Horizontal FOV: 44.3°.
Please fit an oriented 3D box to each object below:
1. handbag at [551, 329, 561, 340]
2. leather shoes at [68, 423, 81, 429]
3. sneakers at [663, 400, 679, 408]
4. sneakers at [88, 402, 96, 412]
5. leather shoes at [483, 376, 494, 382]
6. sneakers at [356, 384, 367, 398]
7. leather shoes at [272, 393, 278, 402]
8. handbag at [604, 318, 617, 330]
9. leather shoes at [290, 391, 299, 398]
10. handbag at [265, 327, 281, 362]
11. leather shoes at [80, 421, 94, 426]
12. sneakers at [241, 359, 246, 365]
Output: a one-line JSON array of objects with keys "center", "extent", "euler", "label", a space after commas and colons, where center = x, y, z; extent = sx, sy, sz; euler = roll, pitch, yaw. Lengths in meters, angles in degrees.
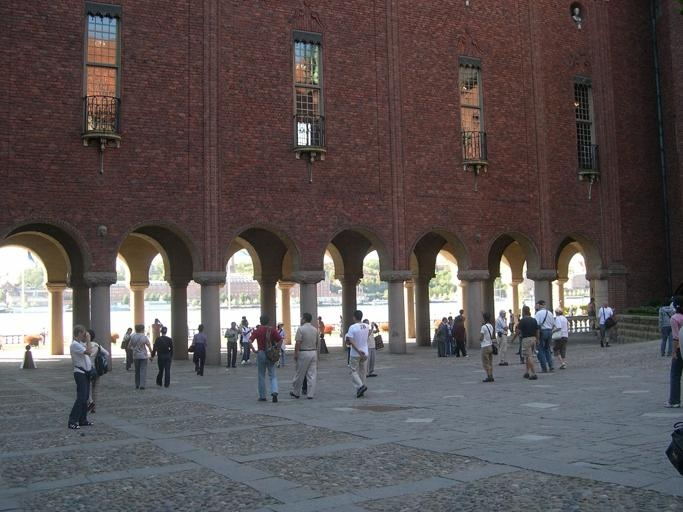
[{"center": [6.326, 2.309, 24.648], "extent": [0.283, 0.494, 0.300], "euler": [-4, -2, 24], "label": "handbag"}, {"center": [-5.498, 3.489, 17.240], "extent": [0.243, 0.103, 0.093], "euler": [-1, -1, 15], "label": "leather shoes"}, {"center": [6.927, 3.111, 17.519], "extent": [0.230, 0.100, 0.105], "euler": [-3, -13, 21], "label": "sneakers"}, {"center": [-5.545, 3.345, 18.604], "extent": [0.141, 0.161, 0.381], "euler": [-4, -31, -21], "label": "sneakers"}, {"center": [3.908, 3.241, 22.243], "extent": [0.280, 0.170, 0.422], "euler": [0, 3, 11], "label": "leather shoes"}, {"center": [0.442, 3.250, 20.052], "extent": [0.158, 0.182, 0.427], "euler": [-29, -24, -29], "label": "sneakers"}, {"center": [-1.575, 3.329, 19.726], "extent": [0.087, 0.231, 0.091], "euler": [-2, 10, -6], "label": "leather shoes"}, {"center": [10.338, 2.587, 32.274], "extent": [0.413, 0.502, 0.725], "euler": [-4, -1, 43], "label": "handbag"}, {"center": [-1.112, 3.384, 20.254], "extent": [0.110, 0.129, 0.307], "euler": [-9, -35, 18], "label": "leather shoes"}, {"center": [-1.644, 2.087, 19.724], "extent": [0.436, 0.956, 0.705], "euler": [4, -17, -9], "label": "handbag"}, {"center": [-5.318, 3.474, 17.443], "extent": [0.260, 0.110, 0.087], "euler": [0, 0, -9], "label": "leather shoes"}, {"center": [-3.481, 3.755, 29.574], "extent": [0.110, 0.137, 0.324], "euler": [7, -16, -14], "label": "sneakers"}]
